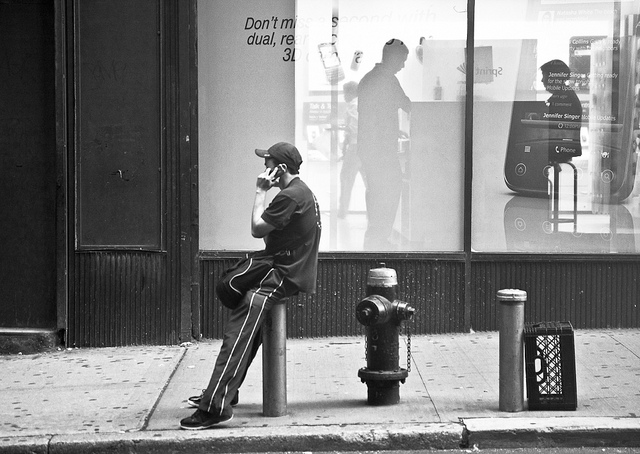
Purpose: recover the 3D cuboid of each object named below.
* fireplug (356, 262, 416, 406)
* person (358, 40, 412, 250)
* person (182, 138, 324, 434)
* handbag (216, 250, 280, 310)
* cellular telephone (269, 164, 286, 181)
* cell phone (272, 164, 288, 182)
[{"bbox_3d":[0.637,1.069,8.700,0.661,1.334,0.615,-1,1,31],"label":"fireplug"},{"bbox_3d":[0.797,-0.997,10.669,0.620,2.467,0.530,0,12,5],"label":"person"},{"bbox_3d":[-0.537,0.517,8.227,0.540,2.483,1.304,8,15,34],"label":"person"},{"bbox_3d":[-0.673,0.508,8.324,0.582,0.561,0.252,-4,13,-14],"label":"handbag"},{"bbox_3d":[-0.392,-0.527,8.426,0.147,0.149,0.043,-8,14,-31],"label":"cellular telephone"},{"bbox_3d":[-0.367,-0.530,8.483,0.105,0.180,0.068,39,6,5],"label":"cell phone"}]
